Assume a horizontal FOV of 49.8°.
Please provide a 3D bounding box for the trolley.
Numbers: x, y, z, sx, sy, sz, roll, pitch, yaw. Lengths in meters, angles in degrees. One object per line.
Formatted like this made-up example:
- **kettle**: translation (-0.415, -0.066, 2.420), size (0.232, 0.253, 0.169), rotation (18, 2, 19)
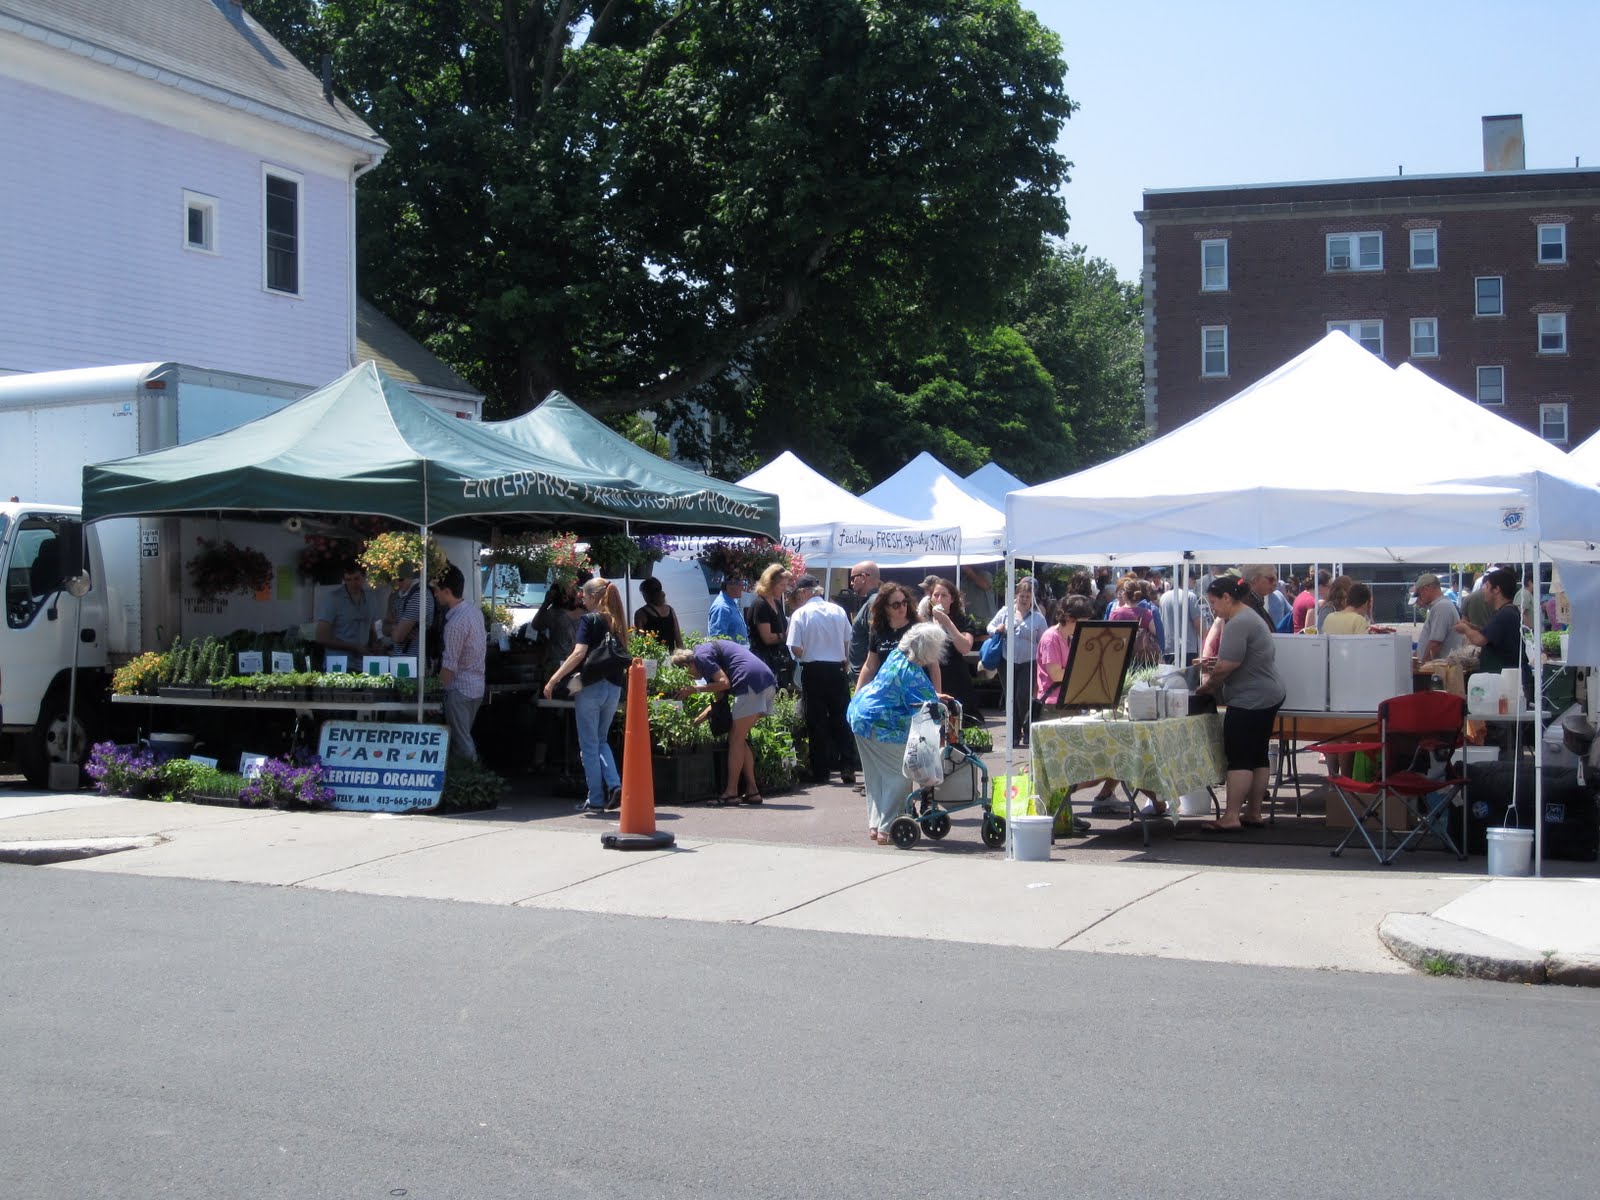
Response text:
- **trolley**: translation (1.227, 1.454, 14.264), size (1.049, 1.685, 0.997), rotation (0, -2, 9)

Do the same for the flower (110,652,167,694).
- **flower**: translation (-6.177, 0.694, 16.079), size (0.415, 0.318, 0.424), rotation (5, 10, 41)

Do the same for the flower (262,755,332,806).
- **flower**: translation (-4.500, 1.651, 15.376), size (0.424, 0.353, 0.416), rotation (7, 0, 3)

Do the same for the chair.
- **chair**: translation (4.681, 1.395, 13.594), size (0.894, 1.503, 0.923), rotation (0, -1, -12)

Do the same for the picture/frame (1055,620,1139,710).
- **picture/frame**: translation (2.531, 0.581, 14.646), size (0.720, 0.887, 0.113), rotation (-2, 26, -40)

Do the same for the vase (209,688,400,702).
- **vase**: translation (-4.447, 0.875, 15.493), size (1.844, 0.167, 0.377), rotation (-1, -2, 19)

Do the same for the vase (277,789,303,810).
- **vase**: translation (-4.537, 1.797, 15.348), size (0.159, 0.103, 0.161), rotation (1, -2, 4)

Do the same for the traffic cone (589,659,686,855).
- **traffic cone**: translation (-1.268, 1.201, 13.268), size (0.532, 1.473, 0.567), rotation (0, -1, -3)

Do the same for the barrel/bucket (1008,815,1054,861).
- **barrel/bucket**: translation (1.737, 1.807, 13.048), size (0.308, 0.329, 0.382), rotation (0, -2, 1)

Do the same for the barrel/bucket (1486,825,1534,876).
- **barrel/bucket**: translation (4.983, 1.783, 12.113), size (0.304, 0.295, 0.293), rotation (1, -5, 0)

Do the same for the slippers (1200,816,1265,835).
- **slippers**: translation (3.632, 1.900, 14.341), size (0.579, 0.171, 0.212), rotation (6, -9, -31)
